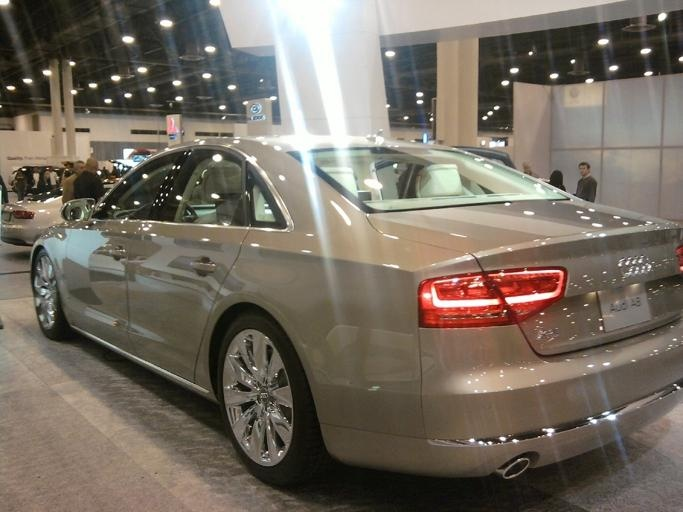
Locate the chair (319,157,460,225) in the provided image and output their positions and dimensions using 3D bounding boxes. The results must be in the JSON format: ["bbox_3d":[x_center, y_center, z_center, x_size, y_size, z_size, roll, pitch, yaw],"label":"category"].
[{"bbox_3d":[0.380,-0.478,2.705,0.515,0.315,0.746,-7,19,-27],"label":"chair"}]
